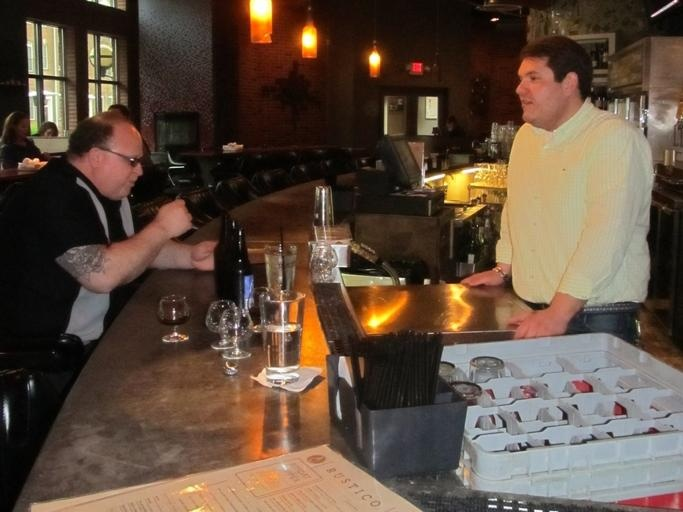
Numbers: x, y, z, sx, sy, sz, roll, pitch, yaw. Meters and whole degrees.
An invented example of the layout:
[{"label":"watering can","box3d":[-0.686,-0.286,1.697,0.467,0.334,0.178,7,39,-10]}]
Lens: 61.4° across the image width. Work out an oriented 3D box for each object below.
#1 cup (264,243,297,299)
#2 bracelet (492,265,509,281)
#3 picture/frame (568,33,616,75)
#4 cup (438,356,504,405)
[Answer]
[{"label":"cup","box3d":[-0.216,0.056,2.166,0.132,0.184,0.125,1,8,0]},{"label":"bracelet","box3d":[0.691,0.070,2.469,0.049,0.072,0.074,-34,-26,-5]},{"label":"picture/frame","box3d":[3.206,-2.761,7.601,0.686,0.403,0.604,1,-29,11]},{"label":"cup","box3d":[0.297,0.280,1.272,0.147,0.131,0.077,-5,19,-3]}]
